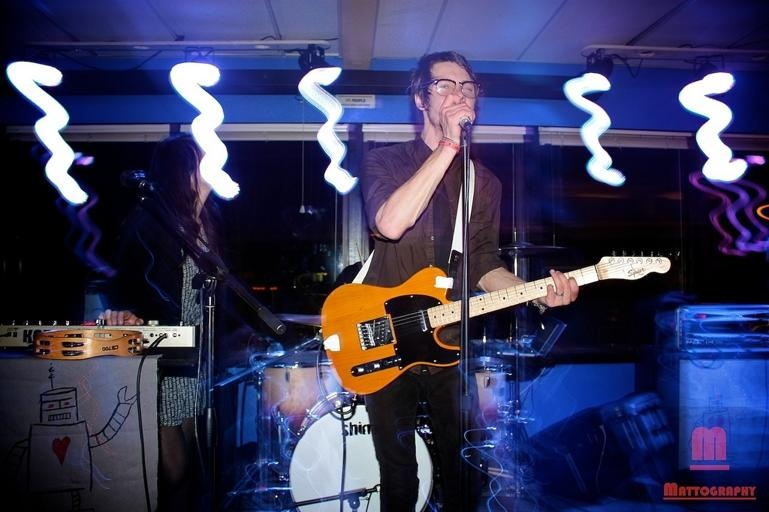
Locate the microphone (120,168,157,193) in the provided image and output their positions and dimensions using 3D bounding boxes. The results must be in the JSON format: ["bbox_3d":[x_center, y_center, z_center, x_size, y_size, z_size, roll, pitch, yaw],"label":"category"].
[{"bbox_3d":[-1.831,-0.564,5.217,0.235,0.169,0.086,-1,-14,-2],"label":"microphone"}]

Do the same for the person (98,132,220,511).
[{"bbox_3d":[-1.810,0.482,5.609,0.816,3.106,1.197,2,-14,-14],"label":"person"}]

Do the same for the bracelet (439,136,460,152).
[{"bbox_3d":[0.466,-0.807,5.087,0.106,0.038,0.106,34,10,33],"label":"bracelet"}]
